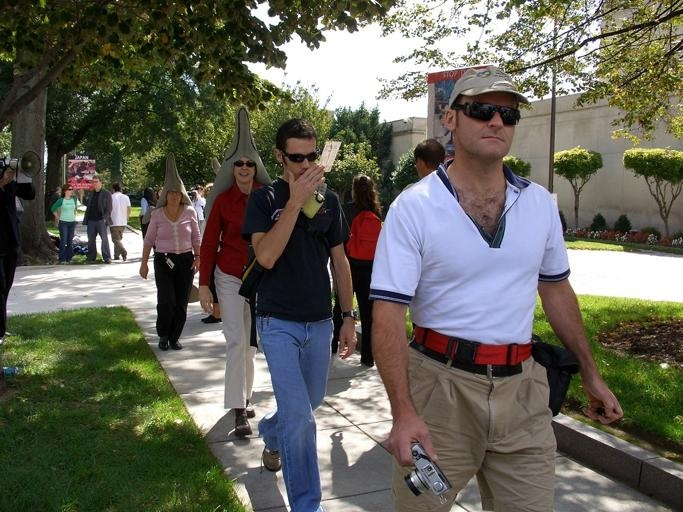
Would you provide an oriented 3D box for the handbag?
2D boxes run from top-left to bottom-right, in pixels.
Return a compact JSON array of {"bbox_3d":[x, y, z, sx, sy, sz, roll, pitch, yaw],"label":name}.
[{"bbox_3d":[0.979,0.554,2.324,0.121,0.323,0.294,3,7,-24],"label":"handbag"}]

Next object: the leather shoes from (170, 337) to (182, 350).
[{"bbox_3d":[-2.397,1.278,7.258,0.089,0.109,0.239,2,6,-31],"label":"leather shoes"}]

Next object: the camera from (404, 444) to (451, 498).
[{"bbox_3d":[0.315,0.807,1.841,0.144,0.232,0.124,2,5,3],"label":"camera"}]

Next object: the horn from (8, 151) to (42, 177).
[{"bbox_3d":[-3.609,-1.067,5.702,0.325,0.298,0.344,-1,6,-33],"label":"horn"}]

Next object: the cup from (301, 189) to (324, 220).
[{"bbox_3d":[-0.195,-0.346,3.270,0.100,0.166,0.108,34,-9,6],"label":"cup"}]

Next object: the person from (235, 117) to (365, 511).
[{"bbox_3d":[-0.292,0.394,3.385,0.648,2.683,0.770,4,5,23],"label":"person"}]

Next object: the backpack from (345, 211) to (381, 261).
[{"bbox_3d":[0.246,-0.216,5.658,0.428,0.690,0.355,6,-12,-10],"label":"backpack"}]
